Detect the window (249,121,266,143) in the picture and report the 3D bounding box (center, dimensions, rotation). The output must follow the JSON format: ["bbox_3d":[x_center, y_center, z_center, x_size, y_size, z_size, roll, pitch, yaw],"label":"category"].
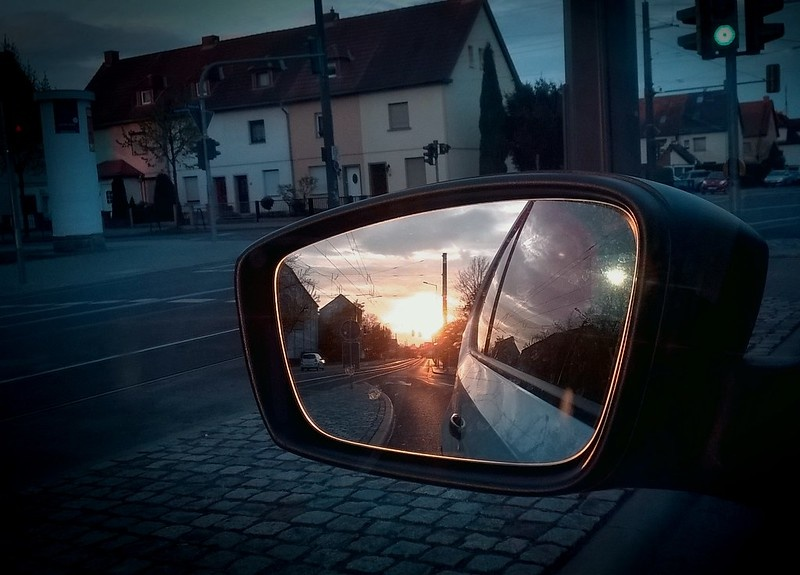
[{"bbox_3d":[-9.879,-10.792,45.262,0.198,1.426,1.444,-17,12,-38],"label":"window"}]

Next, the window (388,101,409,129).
[{"bbox_3d":[-0.038,-10.633,40.273,1.501,2.025,0.265,-1,0,15],"label":"window"}]

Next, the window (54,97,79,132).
[{"bbox_3d":[-11.975,-6.157,23.279,0.957,1.497,0.139,-9,14,-27],"label":"window"}]

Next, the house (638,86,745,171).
[{"bbox_3d":[34.888,-20.096,82.144,11.745,8.055,7.120,4,29,34],"label":"house"}]
